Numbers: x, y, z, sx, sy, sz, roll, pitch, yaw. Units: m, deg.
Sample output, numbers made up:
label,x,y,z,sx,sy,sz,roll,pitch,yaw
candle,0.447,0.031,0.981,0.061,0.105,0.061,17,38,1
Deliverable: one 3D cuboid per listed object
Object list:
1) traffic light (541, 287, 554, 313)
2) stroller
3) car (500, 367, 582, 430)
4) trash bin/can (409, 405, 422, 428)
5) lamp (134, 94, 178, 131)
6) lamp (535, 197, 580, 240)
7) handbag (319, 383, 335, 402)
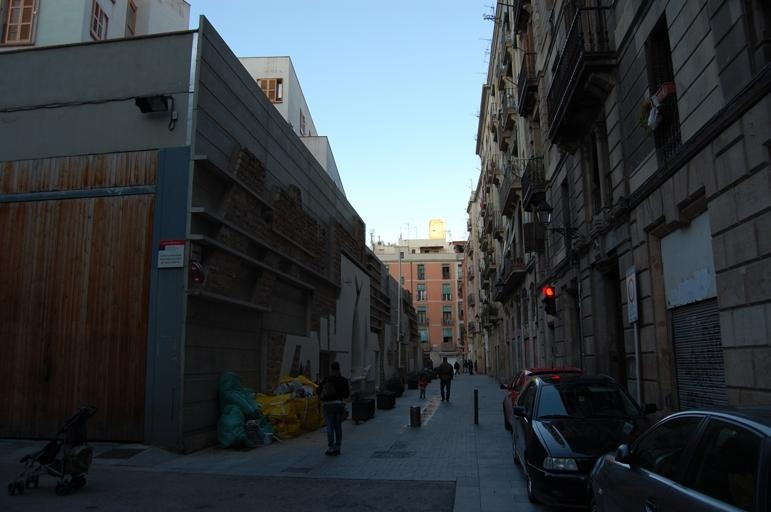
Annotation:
label,x,y,z,sx,sy,sz,roll,pitch,yaw
traffic light,5.815,1.546,19.997,0.362,1.105,1.007,-5,-14,14
stroller,-6.528,3.851,11.202,1.136,1.613,1.260,-9,-15,27
car,3.977,3.787,15.663,1.789,1.626,3.379,-1,-7,0
trash bin/can,0.985,5.199,18.290,0.476,0.945,0.523,-2,-3,6
lamp,-6.133,-3.996,15.372,1.167,1.216,0.892,1,7,-13
lamp,6.480,-1.200,21.246,0.698,1.306,2.471,-13,-17,28
handbag,-1.492,3.440,14.408,0.301,0.483,0.435,1,-5,7
